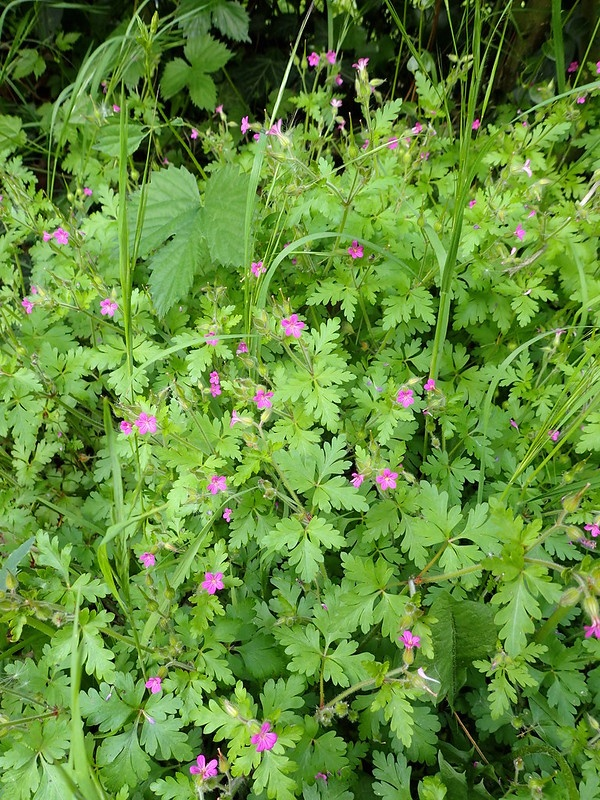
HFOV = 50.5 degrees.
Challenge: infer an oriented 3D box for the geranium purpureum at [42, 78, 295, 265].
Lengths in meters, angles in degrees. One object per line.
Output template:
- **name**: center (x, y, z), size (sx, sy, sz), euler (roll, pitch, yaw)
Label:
- **geranium purpureum**: center (-0.382, -0.652, 2.111), size (0.620, 0.183, 0.720), euler (8, 82, 7)
